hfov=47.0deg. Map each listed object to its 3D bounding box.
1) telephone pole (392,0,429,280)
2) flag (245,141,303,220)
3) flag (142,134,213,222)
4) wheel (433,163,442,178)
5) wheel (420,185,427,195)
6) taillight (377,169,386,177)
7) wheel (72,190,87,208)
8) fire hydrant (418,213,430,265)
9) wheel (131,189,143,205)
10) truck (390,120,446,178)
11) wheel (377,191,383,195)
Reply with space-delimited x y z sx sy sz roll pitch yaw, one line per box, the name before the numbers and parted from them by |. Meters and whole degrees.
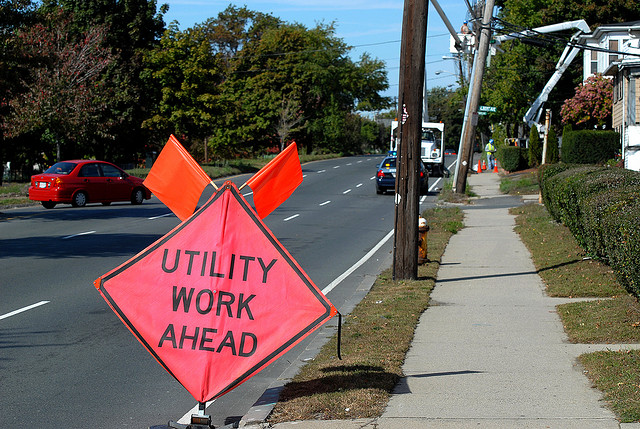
telephone pole | 1.904 -1.527 15.590 0.616 5.855 0.691 2 10 17
flag | -0.602 -0.487 9.894 0.726 1.012 0.368 -1 9 -3
flag | -1.881 -0.483 9.839 0.885 1.144 0.321 1 9 10
wheel | 7.718 -2.863 47.981 0.577 0.836 1.121 1 9 10
wheel | 5.039 -1.183 35.474 0.119 0.507 0.527 10 2 32
taillight | 2.960 -1.960 35.187 0.097 0.351 0.552 -8 12 -39
wheel | -9.498 -0.654 29.094 0.170 0.565 0.550 11 19 34
fire hydrant | 2.445 0.610 17.197 0.247 1.130 0.465 1 9 8
wheel | -7.663 -0.780 30.954 0.334 0.625 0.768 1 9 11
truck | 5.985 -4.377 46.249 2.978 3.673 6.192 1 2 11
wheel | 3.009 -1.087 36.440 0.200 0.202 0.056 0 -3 17
